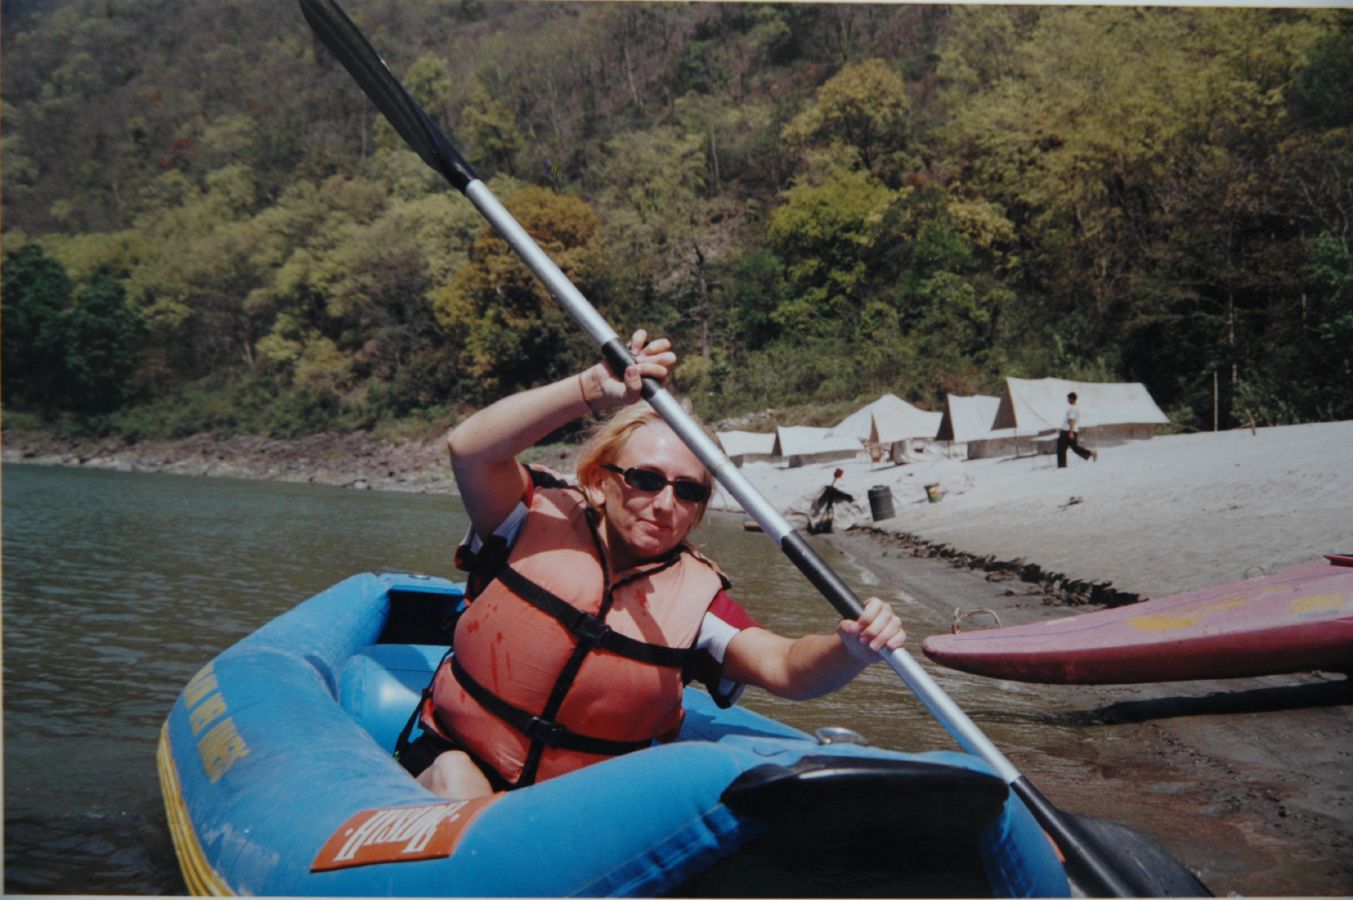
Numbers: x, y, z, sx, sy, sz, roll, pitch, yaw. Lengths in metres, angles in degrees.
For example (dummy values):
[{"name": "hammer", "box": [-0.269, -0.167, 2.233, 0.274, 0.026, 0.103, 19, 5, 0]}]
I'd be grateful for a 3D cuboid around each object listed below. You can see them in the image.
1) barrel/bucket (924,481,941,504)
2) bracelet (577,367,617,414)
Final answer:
[{"name": "barrel/bucket", "box": [4.088, 0.679, 17.840, 0.216, 0.267, 0.220, -3, 19, 1]}, {"name": "bracelet", "box": [-0.707, -0.458, 8.950, 0.245, 0.317, 0.094, -14, -4, -24]}]
